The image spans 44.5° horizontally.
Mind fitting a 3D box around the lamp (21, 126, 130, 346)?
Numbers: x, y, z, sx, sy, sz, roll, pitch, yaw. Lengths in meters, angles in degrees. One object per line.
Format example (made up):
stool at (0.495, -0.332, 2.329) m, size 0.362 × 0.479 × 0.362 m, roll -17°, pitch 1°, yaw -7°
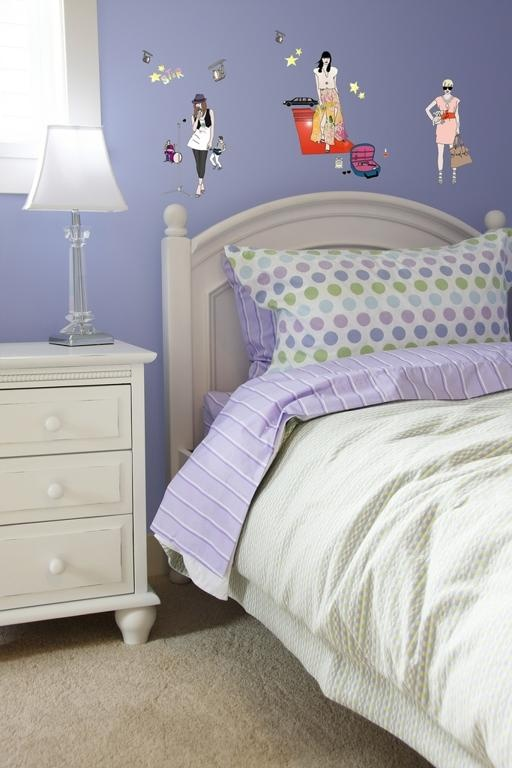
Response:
lamp at (-0.436, -0.343, 1.509) m, size 0.215 × 0.509 × 0.292 m, roll 0°, pitch 2°, yaw -20°
